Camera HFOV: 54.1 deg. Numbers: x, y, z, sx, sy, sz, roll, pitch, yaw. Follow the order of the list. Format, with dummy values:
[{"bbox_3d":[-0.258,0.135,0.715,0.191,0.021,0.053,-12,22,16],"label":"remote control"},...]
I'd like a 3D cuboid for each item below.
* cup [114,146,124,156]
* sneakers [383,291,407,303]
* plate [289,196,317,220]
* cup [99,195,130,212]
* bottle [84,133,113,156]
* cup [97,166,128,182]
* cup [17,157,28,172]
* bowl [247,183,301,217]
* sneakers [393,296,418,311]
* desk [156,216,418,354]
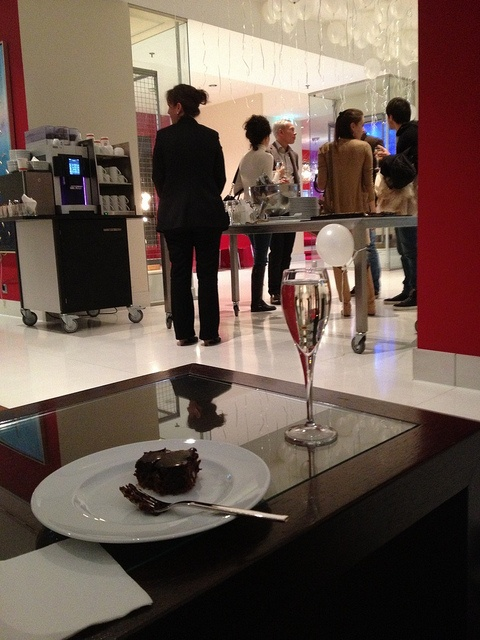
[{"bbox_3d":[-1.304,-1.803,5.073,0.083,0.093,0.085,-1,23,0],"label":"cup"},{"bbox_3d":[1.713,-0.246,5.157,0.089,0.137,0.261,-2,4,-43],"label":"sneakers"},{"bbox_3d":[0.536,-0.938,3.969,0.191,0.147,0.196,10,14,40],"label":"plate"},{"bbox_3d":[-1.364,-1.282,5.175,0.330,0.208,0.194,-5,5,-27],"label":"cup"},{"bbox_3d":[-1.486,-1.836,4.998,0.286,0.114,0.237,7,24,10],"label":"bottle"},{"bbox_3d":[-1.398,-1.562,5.111,0.351,0.207,0.224,-6,5,-33],"label":"cup"},{"bbox_3d":[-2.077,-1.477,4.502,0.111,0.134,0.115,-3,4,0],"label":"cup"},{"bbox_3d":[0.315,-1.132,4.466,0.428,0.332,0.181,-4,4,-15],"label":"bowl"},{"bbox_3d":[1.670,-0.167,4.839,0.286,0.161,0.107,-2,7,-21],"label":"sneakers"},{"bbox_3d":[0.332,-0.259,3.756,1.139,0.682,0.652,8,18,38],"label":"desk"}]
